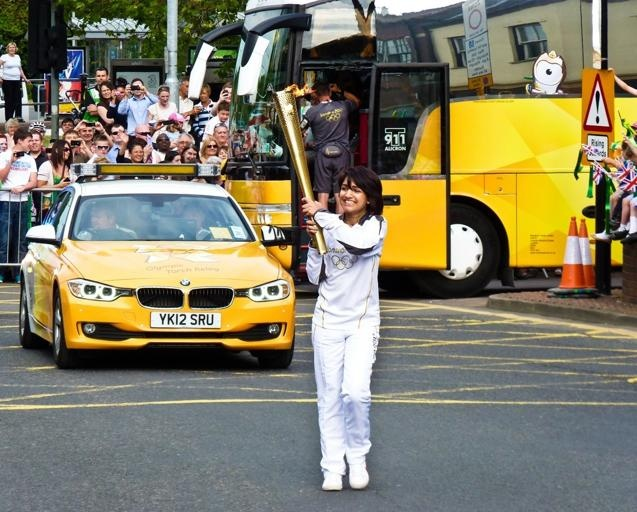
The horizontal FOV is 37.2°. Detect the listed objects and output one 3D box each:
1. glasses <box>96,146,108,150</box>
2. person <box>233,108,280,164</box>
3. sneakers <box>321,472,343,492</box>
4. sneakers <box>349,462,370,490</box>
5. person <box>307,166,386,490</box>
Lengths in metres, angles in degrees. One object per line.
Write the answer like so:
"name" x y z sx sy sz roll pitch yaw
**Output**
"glasses" -3.632 -1.811 15.927 0.187 0.065 0.167 -1 6 -17
"person" -0.965 -1.893 14.644 0.392 0.876 1.282 -4 7 -35
"sneakers" 0.070 1.171 4.974 0.109 0.110 0.168 0 6 1
"sneakers" 0.211 1.151 5.007 0.107 0.144 0.176 1 6 3
"person" 0.123 0.373 5.003 0.407 1.674 0.405 2 6 9
